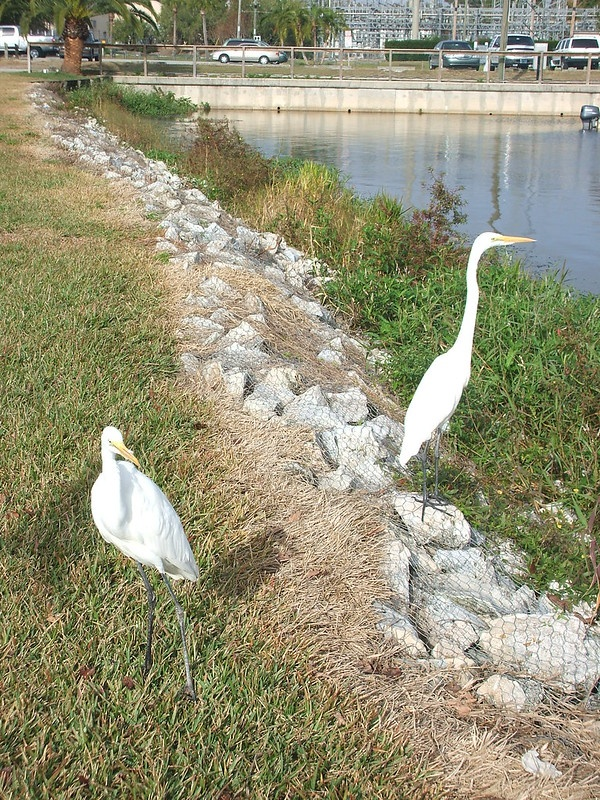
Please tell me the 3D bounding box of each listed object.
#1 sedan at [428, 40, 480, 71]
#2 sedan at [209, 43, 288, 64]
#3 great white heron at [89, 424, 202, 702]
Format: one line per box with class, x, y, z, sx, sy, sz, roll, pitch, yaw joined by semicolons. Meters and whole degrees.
sedan;8.108;-18.042;44.544;2.580;1.649;6.506;5;18;8
sedan;-2.710;-19.082;46.843;3.790;1.422;5.532;2;18;0
great white heron;-0.498;0.548;3.043;0.330;0.835;0.581;-15;26;-39
